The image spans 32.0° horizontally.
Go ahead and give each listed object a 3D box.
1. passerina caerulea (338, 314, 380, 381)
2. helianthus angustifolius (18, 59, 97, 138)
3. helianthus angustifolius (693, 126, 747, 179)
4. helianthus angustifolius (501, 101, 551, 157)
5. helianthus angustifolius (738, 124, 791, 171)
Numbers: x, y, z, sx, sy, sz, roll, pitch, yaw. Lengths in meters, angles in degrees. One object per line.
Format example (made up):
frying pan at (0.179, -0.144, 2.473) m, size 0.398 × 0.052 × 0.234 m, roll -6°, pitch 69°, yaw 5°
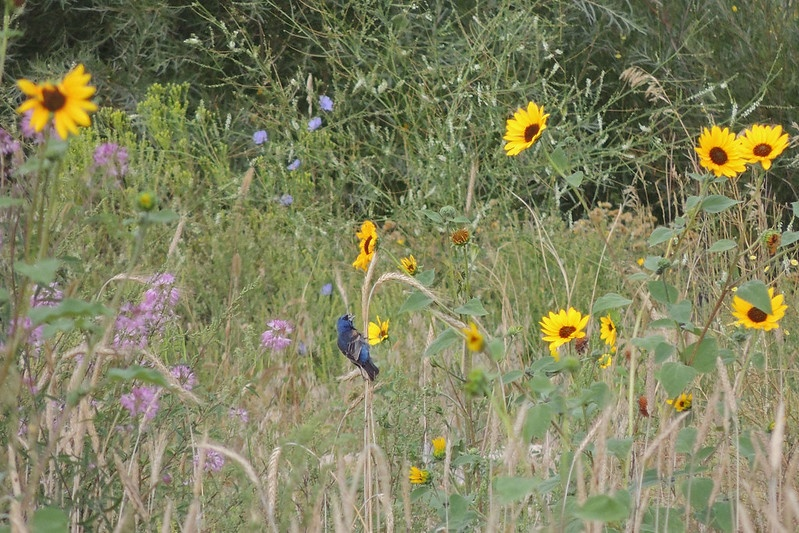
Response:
passerina caerulea at (-0.224, 0.437, 7.079) m, size 0.123 × 0.194 × 0.411 m, roll -20°, pitch 38°, yaw -15°
helianthus angustifolius at (-1.492, -0.726, 6.060) m, size 0.339 × 0.339 × 0.289 m, roll 0°, pitch 11°, yaw -14°
helianthus angustifolius at (1.568, -0.554, 6.740) m, size 0.250 × 0.262 × 0.243 m, roll 6°, pitch 12°, yaw 15°
helianthus angustifolius at (0.622, -0.675, 6.808) m, size 0.195 × 0.283 × 0.324 m, roll 3°, pitch 12°, yaw 5°
helianthus angustifolius at (1.749, -0.585, 6.685) m, size 0.231 × 0.205 × 0.208 m, roll 4°, pitch 12°, yaw 7°
